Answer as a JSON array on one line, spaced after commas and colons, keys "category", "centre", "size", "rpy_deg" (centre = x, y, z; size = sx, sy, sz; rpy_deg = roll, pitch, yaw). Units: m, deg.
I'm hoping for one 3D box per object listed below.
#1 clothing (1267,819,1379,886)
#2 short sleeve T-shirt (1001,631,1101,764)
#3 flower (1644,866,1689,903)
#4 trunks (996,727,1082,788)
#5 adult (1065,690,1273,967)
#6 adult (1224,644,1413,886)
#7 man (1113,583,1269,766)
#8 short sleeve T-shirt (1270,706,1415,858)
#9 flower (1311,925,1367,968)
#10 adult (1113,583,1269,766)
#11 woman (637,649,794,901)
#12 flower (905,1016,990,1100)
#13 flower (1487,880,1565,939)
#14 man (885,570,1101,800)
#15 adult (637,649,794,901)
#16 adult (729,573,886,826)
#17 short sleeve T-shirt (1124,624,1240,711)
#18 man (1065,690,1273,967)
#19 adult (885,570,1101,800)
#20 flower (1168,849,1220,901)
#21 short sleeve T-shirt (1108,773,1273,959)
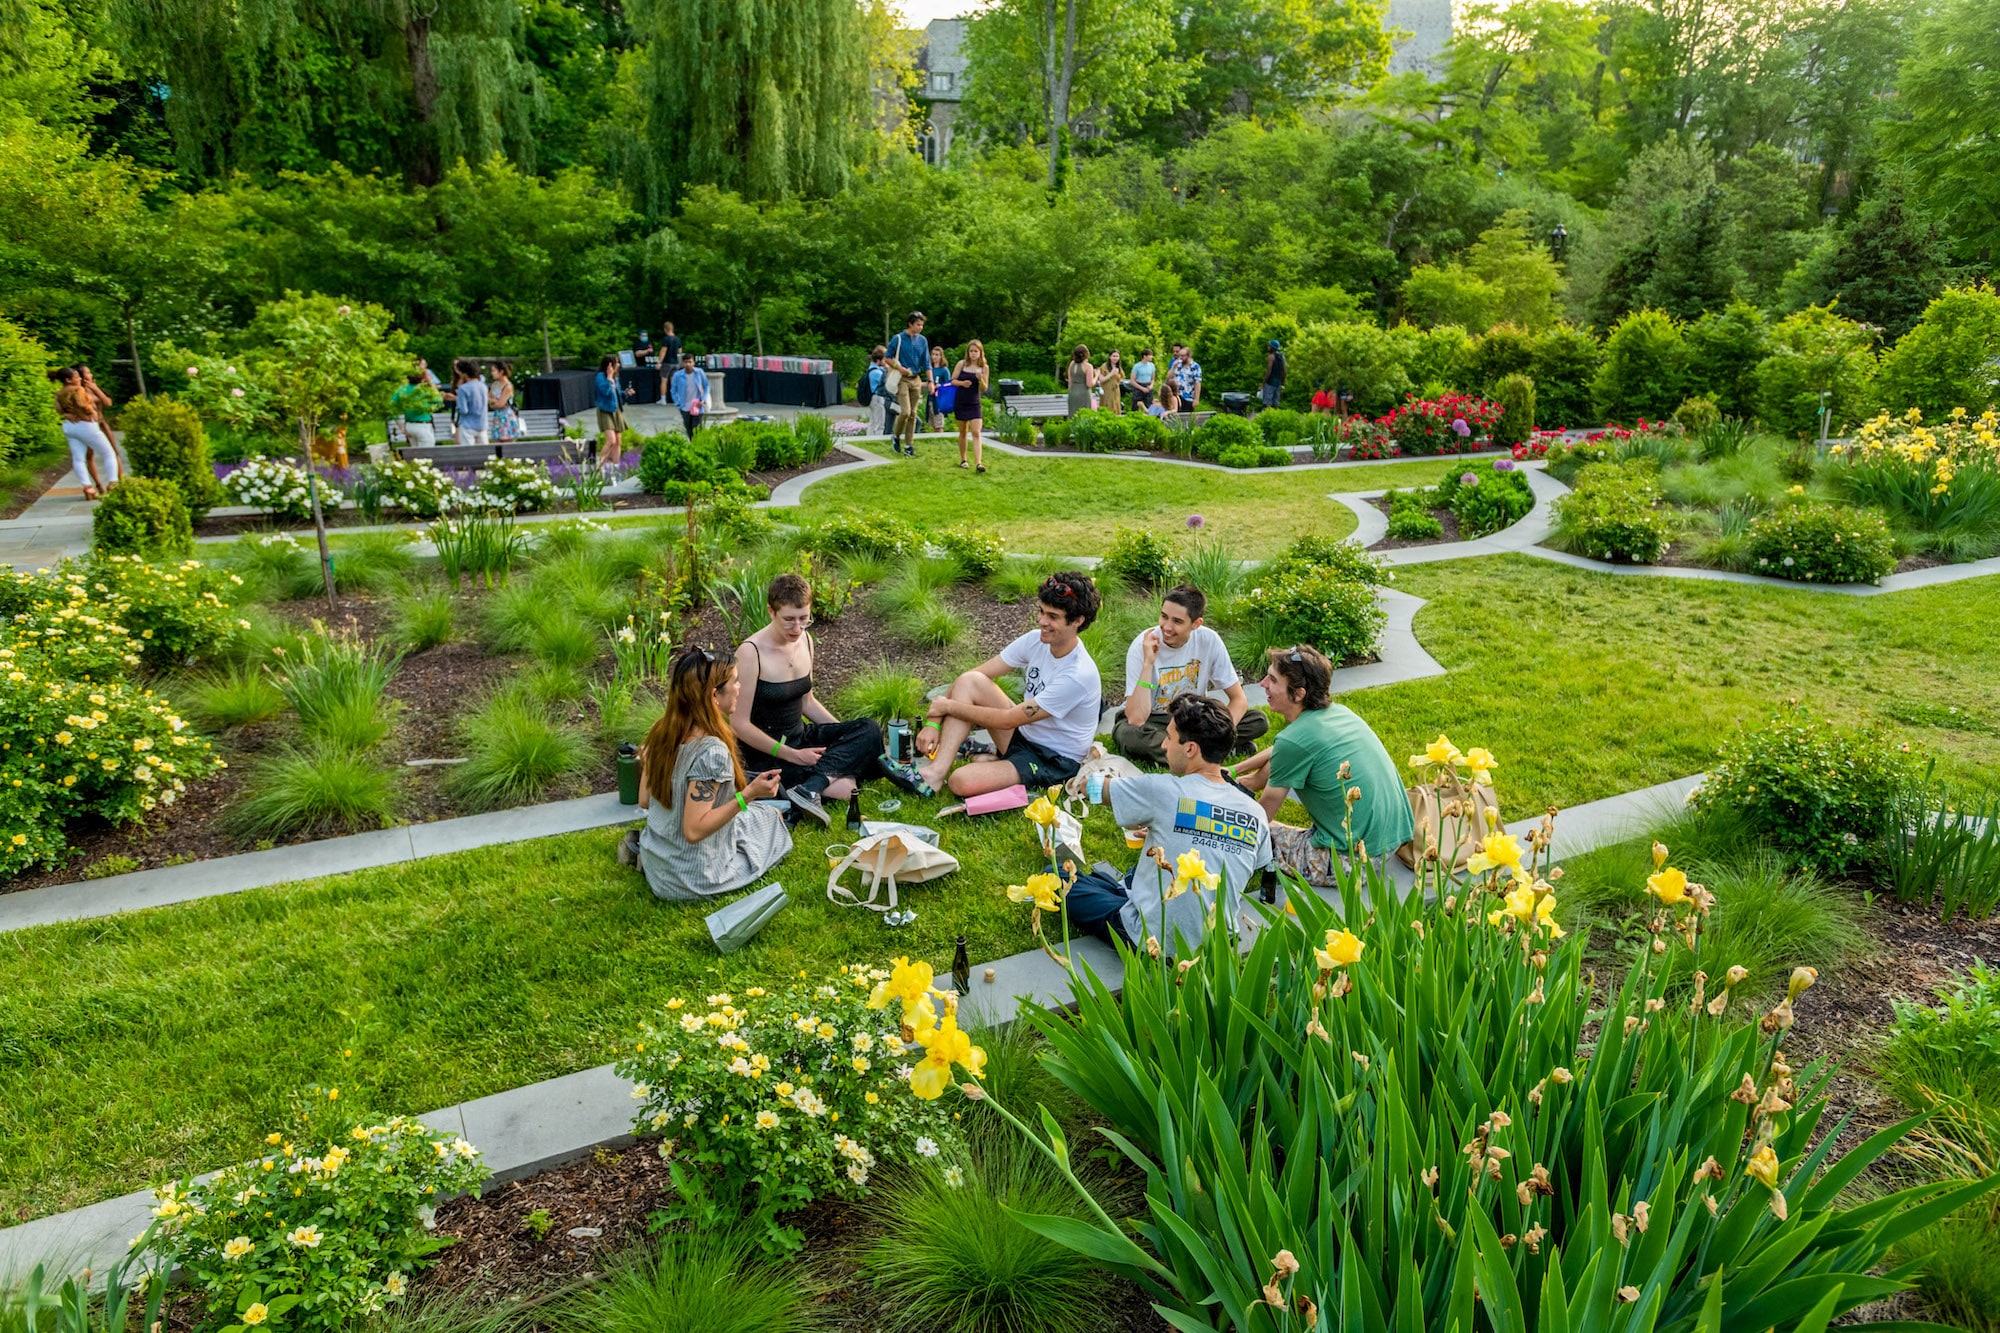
[{"category": "clothing", "centre": [2.340, 1.367, 10.765], "size": [0.600, 0.223, 0.355], "rpy_deg": [18, 32, 23]}, {"category": "short sleeve T-shirt", "centre": [0.494, 0.204, 12.020], "size": [0.804, 1.211, 0.902], "rpy_deg": [2, 9, -31]}, {"category": "flower", "centre": [3.844, 1.241, 8.353], "size": [0.303, 0.167, 0.325], "rpy_deg": [-3, 8, 14]}, {"category": "trunks", "centre": [0.341, 0.790, 11.817], "size": [0.493, 0.155, 0.501], "rpy_deg": [12, 19, 8]}, {"category": "adult", "centre": [1.237, 1.083, 10.411], "size": [1.215, 1.735, 1.530], "rpy_deg": [4, 4, -43]}, {"category": "adult", "centre": [2.304, 0.863, 10.847], "size": [1.605, 1.976, 0.971], "rpy_deg": [3, 11, 29]}, {"category": "man", "centre": [1.434, 0.074, 11.955], "size": [1.162, 1.292, 1.028], "rpy_deg": [-8, 12, -21]}, {"category": "short sleeve T-shirt", "centre": [2.590, 0.800, 10.645], "size": [1.064, 1.051, 0.619], "rpy_deg": [-7, -8, -43]}, {"category": "flower", "centre": [1.927, 1.588, 8.184], "size": [0.221, 0.143, 0.240], "rpy_deg": [-7, 40, 22]}, {"category": "adult", "centre": [1.531, 0.043, 11.924], "size": [1.152, 1.369, 1.074], "rpy_deg": [-4, 11, -1]}, {"category": "woman", "centre": [-2.137, 0.735, 10.938], "size": [1.090, 1.788, 1.182], "rpy_deg": [17, 19, 29]}, {"category": "flower", "centre": [-0.303, 2.164, 7.906], "size": [0.344, 0.498, 0.348], "rpy_deg": [-7, 18, -18]}, {"category": "flower", "centre": [3.067, 1.423, 8.509], "size": [0.387, 0.233, 0.391], "rpy_deg": [-11, 4, 28]}, {"category": "man", "centre": [0.176, -0.083, 12.265], "size": [1.835, 1.876, 1.403], "rpy_deg": [-3, 32, -25]}, {"category": "adult", "centre": [-2.130, 0.718, 10.964], "size": [1.215, 1.802, 1.271], "rpy_deg": [11, 17, 9]}, {"category": "adult", "centre": [-1.490, 0.226, 11.621], "size": [1.125, 1.684, 1.598], "rpy_deg": [-11, 24, -40]}, {"category": "short sleeve T-shirt", "centre": [1.465, -0.016, 12.125], "size": [1.008, 0.763, 0.433], "rpy_deg": [-6, 39, -14]}, {"category": "man", "centre": [1.239, 1.084, 10.391], "size": [1.127, 1.716, 1.521], "rpy_deg": [4, 3, -38]}, {"category": "adult", "centre": [0.038, 0.120, 11.759], "size": [1.750, 1.821, 1.360], "rpy_deg": [0, 19, -18]}, {"category": "flower", "centre": [1.122, 1.247, 8.740], "size": [0.367, 0.194, 0.379], "rpy_deg": [7, 3, -28]}, {"category": "short sleeve T-shirt", "centre": [1.233, 1.423, 10.091], "size": [1.294, 1.272, 1.004], "rpy_deg": [15, -11, -16]}]
